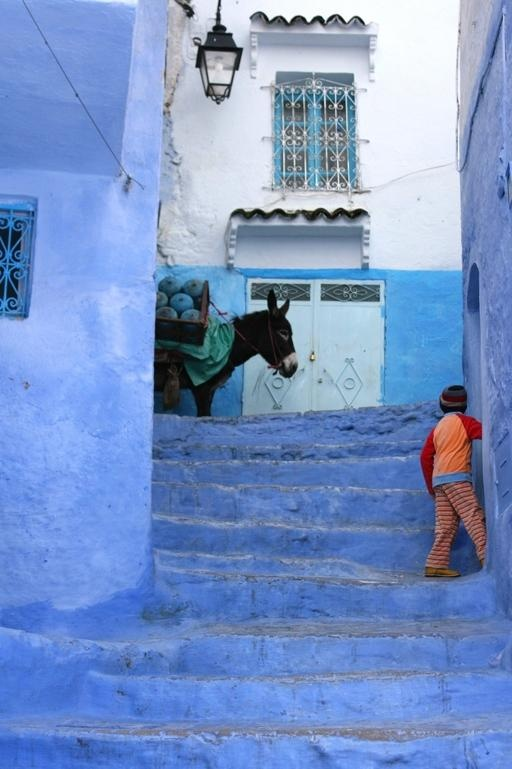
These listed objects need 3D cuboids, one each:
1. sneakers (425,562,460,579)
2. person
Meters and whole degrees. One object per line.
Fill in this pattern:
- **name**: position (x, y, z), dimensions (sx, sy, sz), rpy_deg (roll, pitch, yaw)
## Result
- **sneakers**: position (0.949, 0.962, 5.465), dimensions (0.177, 0.078, 0.066), rpy_deg (-1, -8, 3)
- **person**: position (1.041, 0.517, 5.763), dimensions (0.344, 0.972, 0.419), rpy_deg (1, 6, 8)
